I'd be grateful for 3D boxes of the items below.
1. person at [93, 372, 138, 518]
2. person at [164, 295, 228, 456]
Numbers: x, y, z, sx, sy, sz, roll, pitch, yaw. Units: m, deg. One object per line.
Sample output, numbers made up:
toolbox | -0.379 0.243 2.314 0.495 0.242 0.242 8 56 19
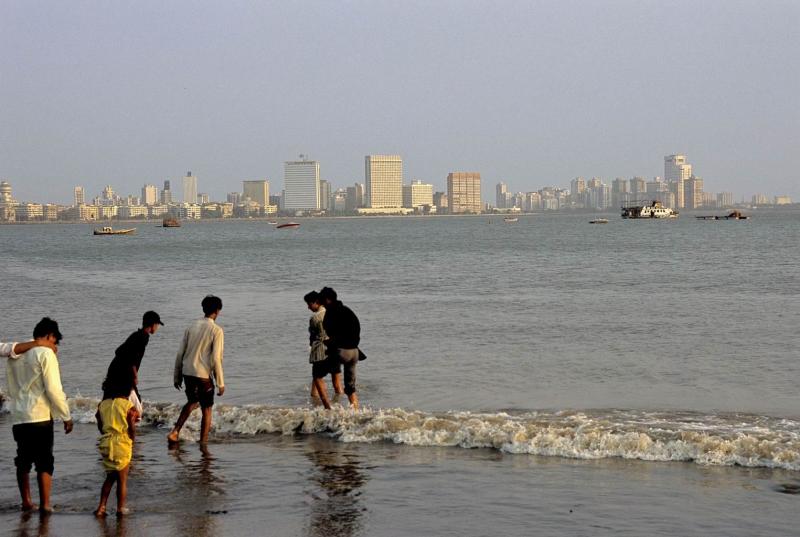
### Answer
person | -6.169 3.774 33.654 0.870 3.046 1.171 0 13 5
person | -4.794 2.350 36.424 1.298 3.655 1.453 -3 13 -9
